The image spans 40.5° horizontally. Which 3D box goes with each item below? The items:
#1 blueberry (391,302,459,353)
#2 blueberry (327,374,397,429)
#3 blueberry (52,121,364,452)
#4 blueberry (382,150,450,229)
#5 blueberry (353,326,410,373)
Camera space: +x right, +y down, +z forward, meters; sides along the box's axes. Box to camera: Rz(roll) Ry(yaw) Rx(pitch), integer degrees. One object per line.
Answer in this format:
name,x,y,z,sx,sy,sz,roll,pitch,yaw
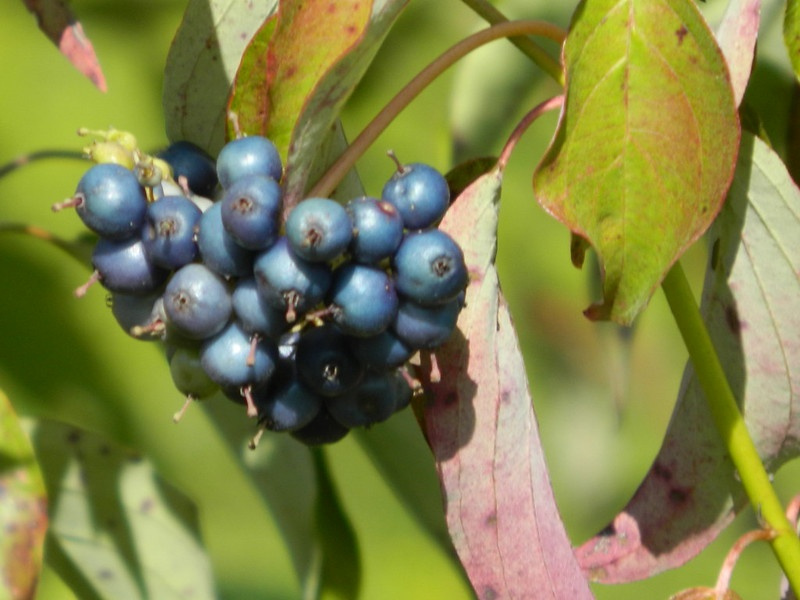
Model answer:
blueberry,0.025,0.016,0.937,0.041,0.040,0.038,11,-19,18
blueberry,-0.029,0.094,0.979,0.049,0.053,0.030,38,-7,0
blueberry,-0.137,-0.022,0.977,0.312,0.171,0.199,37,3,0
blueberry,0.015,-0.096,0.954,0.059,0.059,0.046,3,26,-9
blueberry,-0.017,0.045,0.935,0.031,0.030,0.039,5,-15,-3
